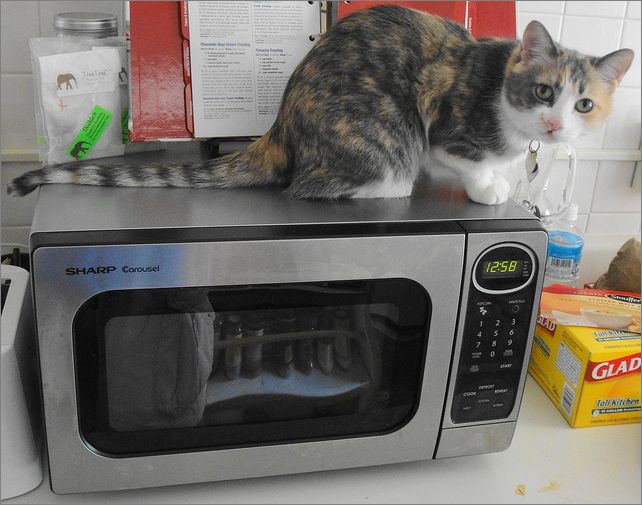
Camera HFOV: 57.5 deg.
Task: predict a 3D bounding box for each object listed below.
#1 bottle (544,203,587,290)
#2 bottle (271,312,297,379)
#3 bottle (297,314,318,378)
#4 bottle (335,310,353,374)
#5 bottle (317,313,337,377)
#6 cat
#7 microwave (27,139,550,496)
[{"bbox_3d":[0.497,-0.018,1.195,0.068,0.164,0.069,-5,27,2],"label":"bottle"},{"bbox_3d":[-0.050,0.119,0.786,0.031,0.110,0.090,0,56,-6],"label":"bottle"},{"bbox_3d":[-0.022,0.121,0.791,0.026,0.058,0.086,-2,65,-6],"label":"bottle"},{"bbox_3d":[0.030,0.121,0.800,0.023,0.083,0.031,-3,2,4],"label":"bottle"},{"bbox_3d":[0.003,0.129,0.812,0.024,0.082,0.033,-3,11,-4],"label":"bottle"},{"bbox_3d":[-0.062,-0.229,0.892,0.876,0.337,0.255,0,46,-3],"label":"cat"},{"bbox_3d":[-0.064,0.048,1.004,0.676,0.423,0.511,0,28,-7],"label":"microwave"}]
